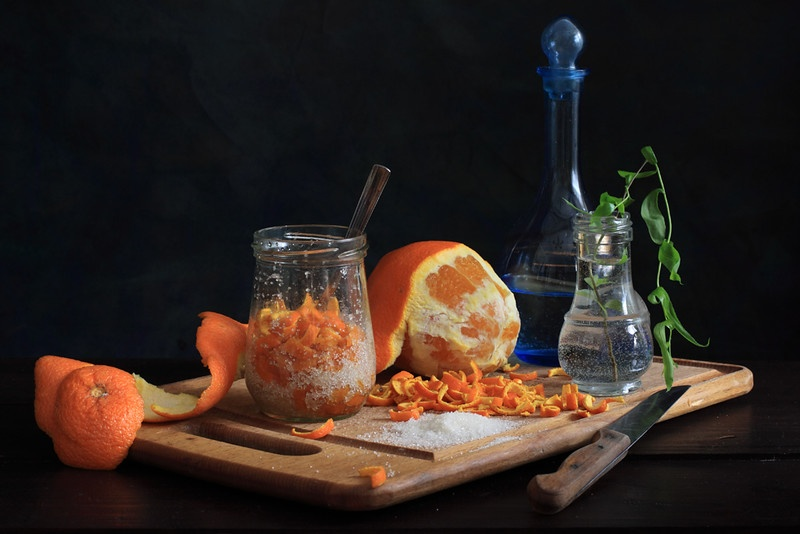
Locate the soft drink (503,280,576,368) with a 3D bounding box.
[{"bbox_3d":[0.257,0.100,1.382,0.143,0.153,0.146,7,-1,37],"label":"soft drink"}]
